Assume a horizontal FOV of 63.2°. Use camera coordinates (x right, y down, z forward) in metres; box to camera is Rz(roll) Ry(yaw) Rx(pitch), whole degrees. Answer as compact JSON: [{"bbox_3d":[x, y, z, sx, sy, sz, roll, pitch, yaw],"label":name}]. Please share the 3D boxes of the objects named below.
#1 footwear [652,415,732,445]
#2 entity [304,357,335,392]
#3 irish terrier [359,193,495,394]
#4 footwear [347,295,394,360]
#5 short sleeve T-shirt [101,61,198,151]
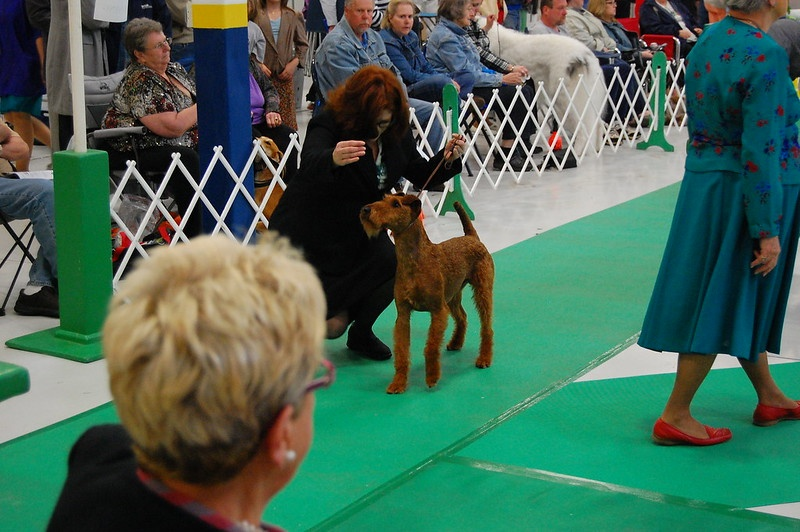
[{"bbox_3d":[1.427,0.813,3.209,0.382,0.139,0.140,-2,1,-8],"label":"footwear"},{"bbox_3d":[-0.143,0.204,1.207,0.043,0.015,0.056,-13,31,53],"label":"entity"},{"bbox_3d":[0.202,0.122,3.695,0.831,1.110,0.314,-14,23,-39],"label":"irish terrier"},{"bbox_3d":[-0.198,0.395,4.105,0.347,0.539,0.128,12,29,10],"label":"footwear"},{"bbox_3d":[-2.123,-1.385,5.478,0.823,0.720,0.662,6,31,20],"label":"short sleeve T-shirt"}]
